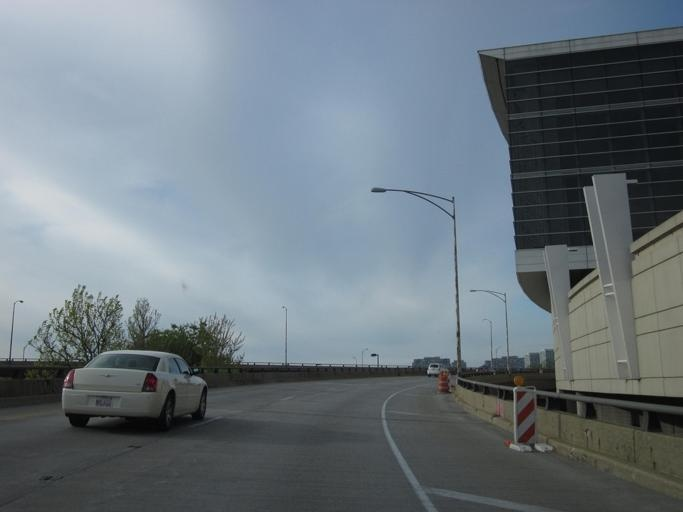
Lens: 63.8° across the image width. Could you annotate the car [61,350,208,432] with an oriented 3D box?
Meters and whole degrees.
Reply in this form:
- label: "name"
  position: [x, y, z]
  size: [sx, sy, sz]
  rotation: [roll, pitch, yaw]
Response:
- label: "car"
  position: [-4.914, 3.552, 14.709]
  size: [1.648, 1.474, 3.860]
  rotation: [-1, -11, 8]
